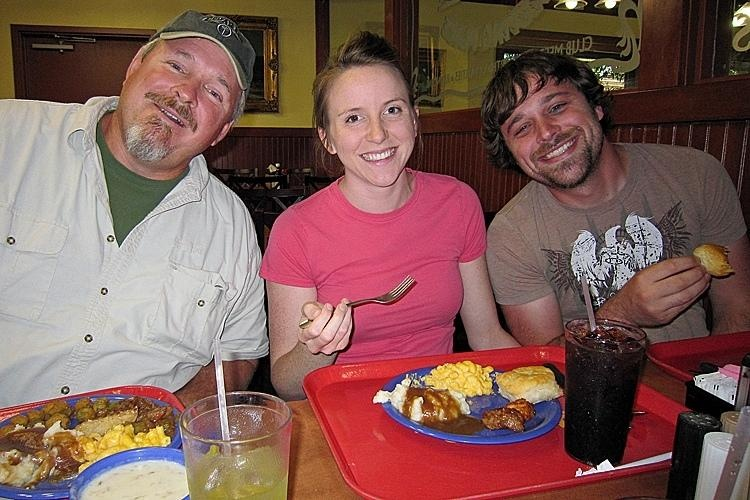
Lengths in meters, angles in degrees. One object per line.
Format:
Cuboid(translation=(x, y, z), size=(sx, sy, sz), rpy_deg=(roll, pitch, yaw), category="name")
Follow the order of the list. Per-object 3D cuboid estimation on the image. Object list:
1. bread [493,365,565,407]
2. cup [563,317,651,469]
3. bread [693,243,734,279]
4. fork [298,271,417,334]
Cuboid(translation=(0.522, 0.454, 1.704), size=(0.132, 0.044, 0.137), rpy_deg=(-11, 11, -3), category="bread")
Cuboid(translation=(0.669, 0.416, 1.473), size=(0.213, 0.399, 0.162), rpy_deg=(3, 10, 29), category="cup")
Cuboid(translation=(1.345, 0.059, 2.030), size=(0.135, 0.044, 0.127), rpy_deg=(40, 68, 23), category="bread")
Cuboid(translation=(-0.070, 0.211, 2.050), size=(0.482, 0.073, 0.075), rpy_deg=(-24, 37, -18), category="fork")
